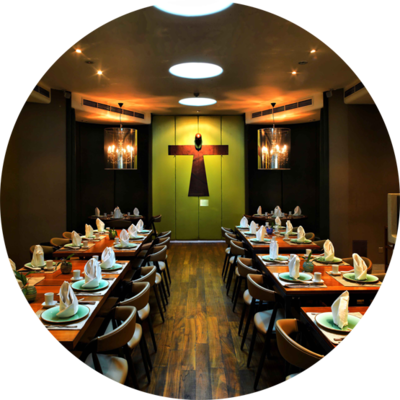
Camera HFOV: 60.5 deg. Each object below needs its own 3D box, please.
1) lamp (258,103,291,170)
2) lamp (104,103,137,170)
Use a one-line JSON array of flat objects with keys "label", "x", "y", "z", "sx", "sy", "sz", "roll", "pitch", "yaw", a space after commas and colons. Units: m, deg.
[{"label": "lamp", "x": 1.515, "y": -1.050, "z": 7.442, "sx": 0.643, "sy": 1.621, "sz": 0.714, "roll": 0, "pitch": 1, "yaw": 4}, {"label": "lamp", "x": -1.640, "y": -1.073, "z": 6.923, "sx": 0.675, "sy": 1.643, "sz": 0.722, "roll": 0, "pitch": 2, "yaw": -5}]
